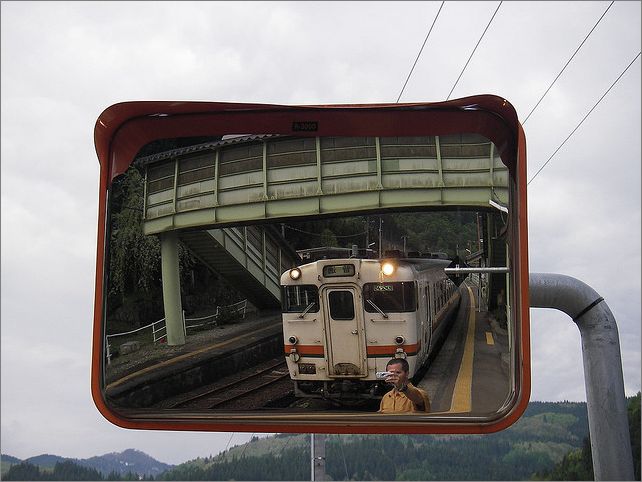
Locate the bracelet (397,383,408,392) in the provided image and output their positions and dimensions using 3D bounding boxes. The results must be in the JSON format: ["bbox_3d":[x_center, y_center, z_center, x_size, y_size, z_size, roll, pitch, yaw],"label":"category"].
[{"bbox_3d":[0.845,1.494,5.598,0.090,0.117,0.070,-3,13,-10],"label":"bracelet"}]
